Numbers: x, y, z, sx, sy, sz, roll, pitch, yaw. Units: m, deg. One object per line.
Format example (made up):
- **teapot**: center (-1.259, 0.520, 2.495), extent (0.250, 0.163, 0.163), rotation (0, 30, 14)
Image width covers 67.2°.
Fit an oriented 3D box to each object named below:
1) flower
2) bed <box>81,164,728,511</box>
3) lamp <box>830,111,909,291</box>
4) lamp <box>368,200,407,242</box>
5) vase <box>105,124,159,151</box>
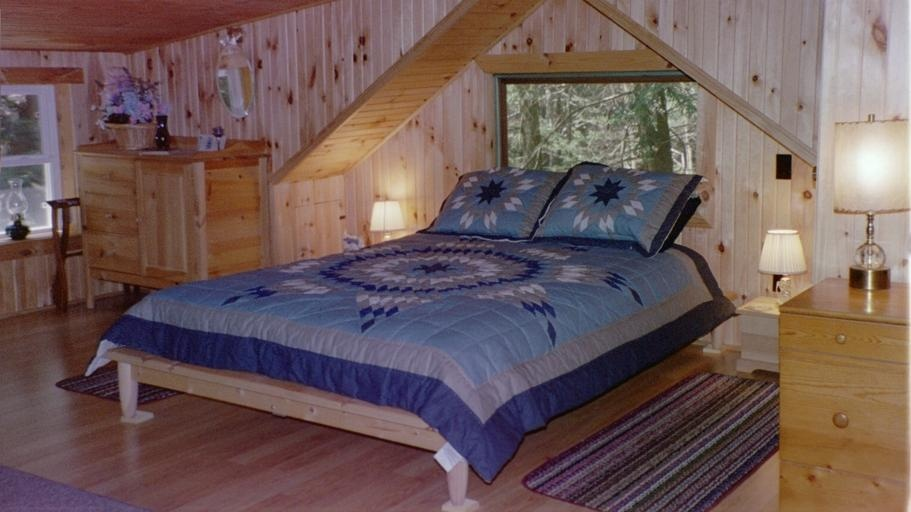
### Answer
- **flower**: center (-3.112, -1.518, 6.531), extent (0.622, 0.553, 0.761), rotation (-5, 13, -28)
- **bed**: center (-0.018, 0.261, 4.511), extent (3.390, 1.668, 2.298), rotation (-8, 15, -40)
- **lamp**: center (1.980, -0.249, 3.310), extent (0.367, 0.805, 0.267), rotation (6, 14, 20)
- **lamp**: center (-0.637, -0.332, 6.456), extent (0.414, 0.363, 0.400), rotation (6, 13, 27)
- **vase**: center (-3.067, -1.118, 6.451), extent (0.348, 0.146, 0.338), rotation (2, 6, 30)
